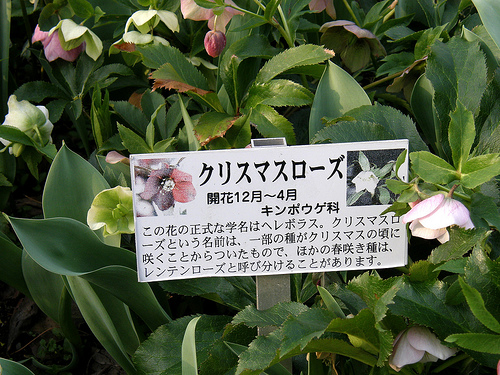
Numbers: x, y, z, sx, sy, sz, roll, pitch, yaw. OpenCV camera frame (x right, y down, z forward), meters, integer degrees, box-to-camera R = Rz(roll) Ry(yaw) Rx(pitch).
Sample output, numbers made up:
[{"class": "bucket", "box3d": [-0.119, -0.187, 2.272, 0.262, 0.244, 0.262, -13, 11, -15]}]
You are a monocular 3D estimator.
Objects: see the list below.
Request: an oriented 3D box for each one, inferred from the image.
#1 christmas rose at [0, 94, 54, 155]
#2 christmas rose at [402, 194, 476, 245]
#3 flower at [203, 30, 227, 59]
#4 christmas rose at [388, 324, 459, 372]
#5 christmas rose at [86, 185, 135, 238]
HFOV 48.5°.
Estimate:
[{"class": "christmas rose", "box3d": [-0.527, -0.159, 1.334, 0.125, 0.047, 0.151, -7, 100, -50]}, {"class": "christmas rose", "box3d": [0.344, 0.047, 0.992, 0.115, 0.135, 0.078, 9, 80, -18]}, {"class": "flower", "box3d": [-0.086, -0.344, 1.330, 0.044, 0.053, 0.068, 9, 112, 23]}, {"class": "christmas rose", "box3d": [0.311, 0.285, 1.008, 0.082, 0.092, 0.049, -10, 111, -16]}, {"class": "christmas rose", "box3d": [-0.291, 0.051, 1.169, 0.087, 0.050, 0.099, -3, 85, 1]}]
